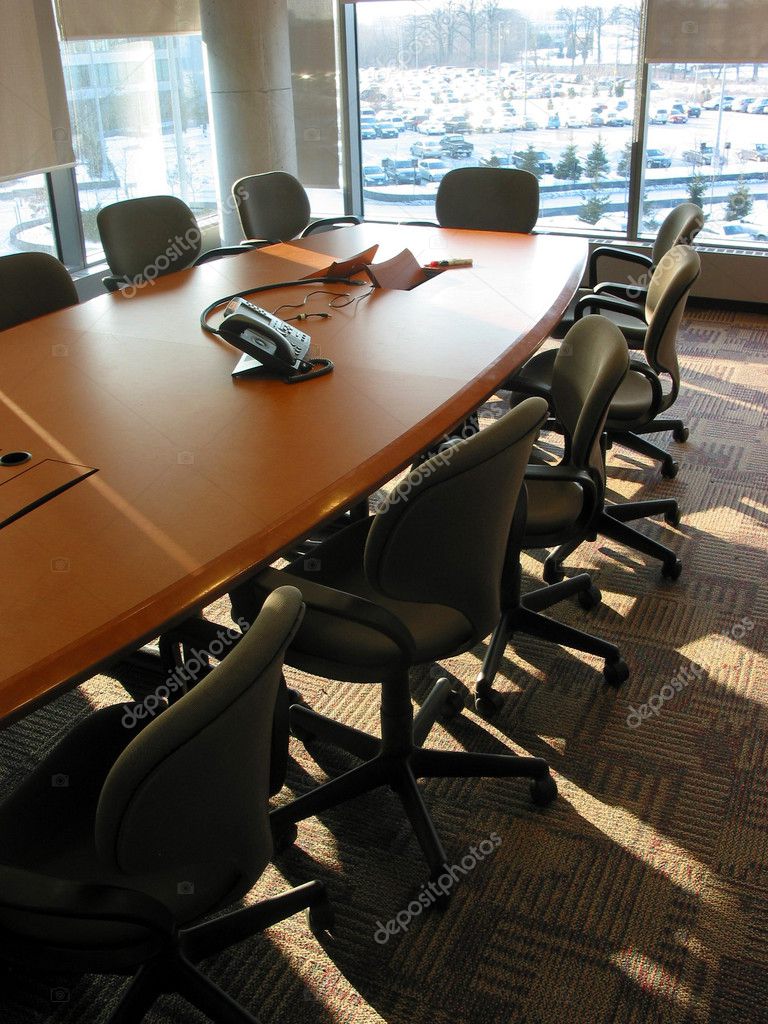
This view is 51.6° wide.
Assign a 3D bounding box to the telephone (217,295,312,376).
[{"bbox_3d":[-0.316,-0.438,2.090,0.293,0.103,0.156,26,67,22],"label":"telephone"}]
